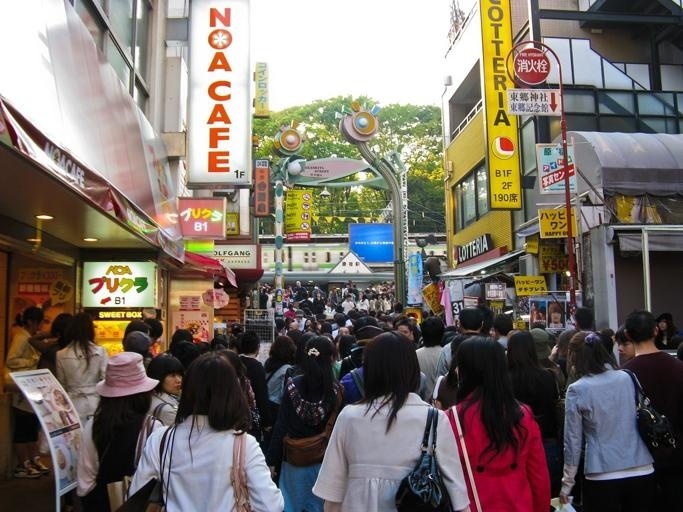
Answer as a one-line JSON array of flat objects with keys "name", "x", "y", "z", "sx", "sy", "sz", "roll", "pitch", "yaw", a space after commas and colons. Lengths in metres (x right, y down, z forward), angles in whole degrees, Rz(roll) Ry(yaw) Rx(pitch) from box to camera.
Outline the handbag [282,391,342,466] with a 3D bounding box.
[{"name": "handbag", "x": -0.274, "y": 1.678, "z": 5.575, "sx": 0.372, "sy": 0.600, "sz": 0.612, "roll": 0, "pitch": -13, "yaw": 8}]

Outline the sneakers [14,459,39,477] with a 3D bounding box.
[{"name": "sneakers", "x": -3.925, "y": 2.697, "z": 7.674, "sx": 0.389, "sy": 0.200, "sz": 0.148, "roll": 0, "pitch": -8, "yaw": 15}]

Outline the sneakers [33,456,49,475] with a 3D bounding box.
[{"name": "sneakers", "x": -3.924, "y": 2.744, "z": 7.887, "sx": 0.362, "sy": 0.238, "sz": 0.123, "roll": -8, "pitch": -10, "yaw": 37}]

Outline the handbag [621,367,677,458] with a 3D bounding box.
[{"name": "handbag", "x": 2.531, "y": 1.310, "z": 4.927, "sx": 0.312, "sy": 0.763, "sz": 0.701, "roll": -8, "pitch": -11, "yaw": 28}]

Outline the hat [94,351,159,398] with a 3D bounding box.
[{"name": "hat", "x": -1.584, "y": 0.870, "z": 4.407, "sx": 0.344, "sy": 0.195, "sz": 0.329, "roll": -11, "pitch": 17, "yaw": -33}]

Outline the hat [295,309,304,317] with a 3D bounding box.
[{"name": "hat", "x": -1.107, "y": 1.489, "z": 15.788, "sx": 0.173, "sy": 0.224, "sz": 0.226, "roll": 1, "pitch": -10, "yaw": -3}]

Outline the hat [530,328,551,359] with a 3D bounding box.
[{"name": "hat", "x": 1.937, "y": 0.862, "z": 5.884, "sx": 0.237, "sy": 0.168, "sz": 0.318, "roll": -1, "pitch": 18, "yaw": 5}]
